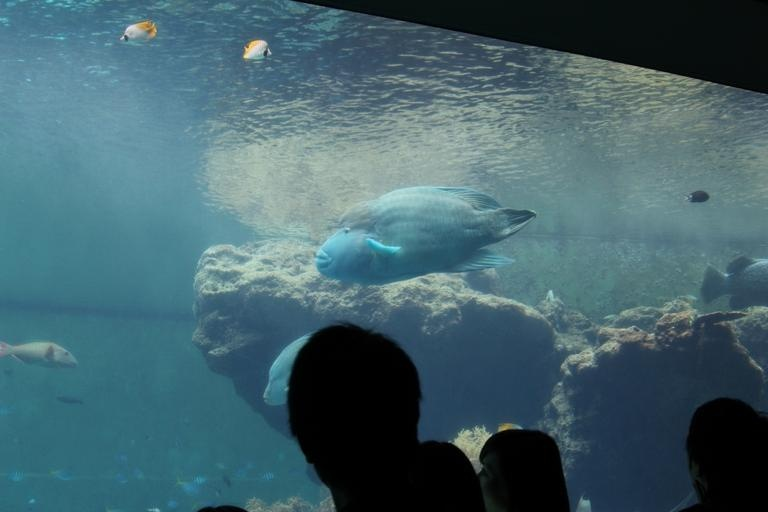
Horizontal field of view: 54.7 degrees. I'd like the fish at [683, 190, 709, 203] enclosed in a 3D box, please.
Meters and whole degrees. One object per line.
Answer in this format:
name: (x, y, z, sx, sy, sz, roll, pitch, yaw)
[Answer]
fish: (14.799, -2.905, 35.178, 0.915, 0.775, 1.211, -12, -17, 18)
